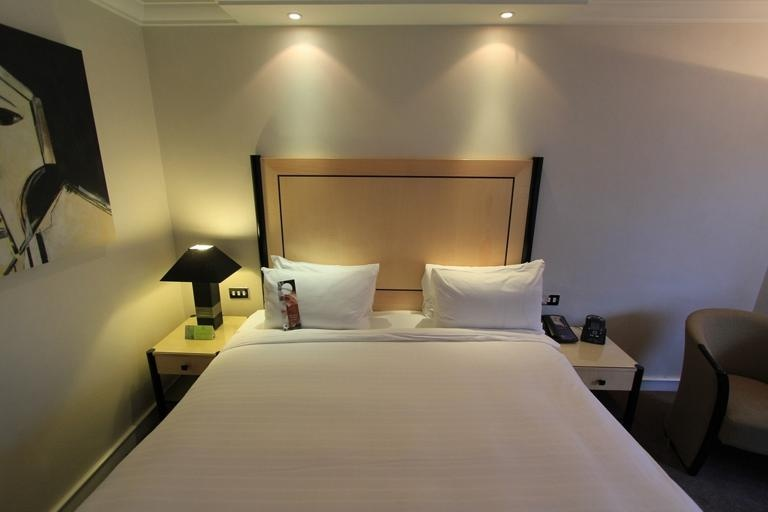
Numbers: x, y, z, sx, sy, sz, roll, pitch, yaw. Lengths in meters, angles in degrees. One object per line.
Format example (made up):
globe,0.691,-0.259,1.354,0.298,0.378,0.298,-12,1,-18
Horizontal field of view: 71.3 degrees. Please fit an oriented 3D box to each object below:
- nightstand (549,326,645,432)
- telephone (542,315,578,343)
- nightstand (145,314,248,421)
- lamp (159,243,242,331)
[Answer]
nightstand,1.571,0.971,4.515,0.806,0.569,0.947,1,17,-11
telephone,1.420,0.594,4.332,0.217,0.059,0.214,2,41,-13
nightstand,-1.476,0.940,4.458,0.792,0.635,0.811,-8,19,-16
lamp,-1.445,0.258,4.349,0.550,0.685,0.537,7,16,22
